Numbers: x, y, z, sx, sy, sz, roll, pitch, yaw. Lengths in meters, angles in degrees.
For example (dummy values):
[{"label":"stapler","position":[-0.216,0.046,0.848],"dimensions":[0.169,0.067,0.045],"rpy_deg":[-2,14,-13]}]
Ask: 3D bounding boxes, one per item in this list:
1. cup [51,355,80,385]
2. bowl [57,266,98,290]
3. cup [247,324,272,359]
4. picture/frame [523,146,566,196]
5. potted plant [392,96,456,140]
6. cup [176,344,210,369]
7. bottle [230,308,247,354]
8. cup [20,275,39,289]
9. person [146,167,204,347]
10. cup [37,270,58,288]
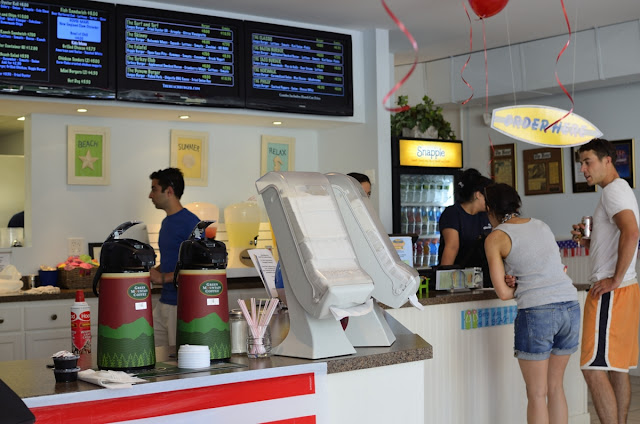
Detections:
[{"label":"cup","position":[-0.932,0.581,1.794],"dimensions":[0.093,0.081,0.090],"rpy_deg":[-1,-4,0]},{"label":"bowl","position":[-2.275,0.623,4.570],"dimensions":[0.408,0.200,0.164],"rpy_deg":[-2,2,13]},{"label":"cup","position":[-0.257,0.577,2.153],"dimensions":[0.115,0.131,0.117],"rpy_deg":[0,-7,0]},{"label":"picture/frame","position":[3.000,-0.550,6.488],"dimensions":[0.086,0.825,0.680],"rpy_deg":[-2,2,-43]},{"label":"potted plant","position":[1.193,-1.119,5.865],"dimensions":[0.906,0.493,0.316],"rpy_deg":[-4,2,-34]},{"label":"cup","position":[-0.492,0.576,1.910],"dimensions":[0.099,0.064,0.099],"rpy_deg":[-1,-2,0]},{"label":"bottle","position":[-0.361,0.535,2.160],"dimensions":[0.072,0.153,0.055],"rpy_deg":[-3,1,-10]},{"label":"cup","position":[-2.732,0.672,4.606],"dimensions":[0.167,0.140,0.105],"rpy_deg":[-2,2,29]},{"label":"person","position":[-1.102,0.337,3.748],"dimensions":[0.377,1.262,1.798],"rpy_deg":[-3,2,-19]},{"label":"cup","position":[-2.576,0.634,4.612],"dimensions":[0.171,0.163,0.153],"rpy_deg":[0,-2,-3]}]
